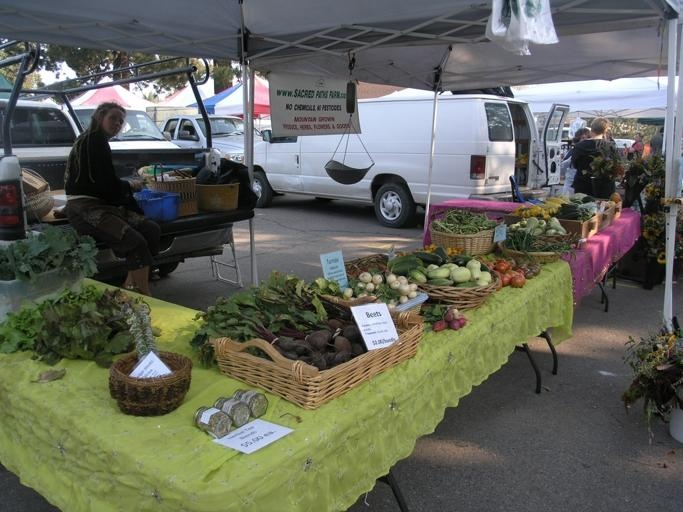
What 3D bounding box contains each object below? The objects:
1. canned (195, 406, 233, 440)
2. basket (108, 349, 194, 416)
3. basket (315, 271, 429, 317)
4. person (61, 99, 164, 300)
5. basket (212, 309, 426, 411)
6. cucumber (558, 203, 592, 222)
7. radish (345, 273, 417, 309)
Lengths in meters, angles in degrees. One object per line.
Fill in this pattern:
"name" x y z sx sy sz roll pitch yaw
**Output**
"canned" -0.472 0.723 1.901 0.127 0.106 0.168 -5 3 -41
"basket" -0.764 0.620 2.006 0.409 0.182 0.333 12 13 42
"basket" 0.167 0.251 3.026 0.666 0.228 0.565 -5 13 -39
"person" -2.066 -0.481 4.843 1.078 1.910 0.972 -7 23 -42
"basket" -0.044 0.543 2.312 0.933 0.242 0.515 -7 14 -30
"cucumber" 2.321 -0.362 4.956 0.267 0.109 0.260 -15 15 -38
"radish" 0.233 0.269 3.058 0.423 0.210 0.474 4 11 -11
